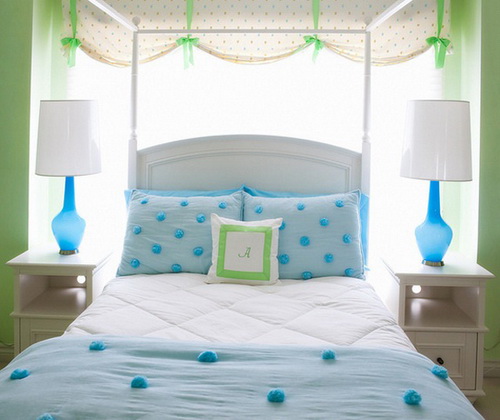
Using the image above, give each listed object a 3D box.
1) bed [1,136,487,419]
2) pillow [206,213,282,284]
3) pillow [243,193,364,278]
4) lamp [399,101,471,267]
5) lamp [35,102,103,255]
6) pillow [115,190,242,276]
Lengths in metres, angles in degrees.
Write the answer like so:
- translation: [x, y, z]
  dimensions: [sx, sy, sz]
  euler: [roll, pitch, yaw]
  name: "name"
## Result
- translation: [0.440, 0.110, 2.726]
  dimensions: [1.813, 1.172, 0.604]
  euler: [-2, 7, -25]
  name: "bed"
- translation: [-0.034, 0.232, 2.469]
  dimensions: [0.337, 0.350, 0.115]
  euler: [-1, -15, 6]
  name: "pillow"
- translation: [0.299, 0.162, 2.578]
  dimensions: [0.441, 0.360, 0.159]
  euler: [-1, -5, 1]
  name: "pillow"
- translation: [1.061, -0.145, 2.602]
  dimensions: [0.377, 0.957, 0.208]
  euler: [3, 10, 13]
  name: "lamp"
- translation: [-1.081, -0.186, 2.706]
  dimensions: [0.347, 0.927, 0.200]
  euler: [1, 10, 3]
  name: "lamp"
- translation: [-0.388, 0.158, 2.713]
  dimensions: [0.678, 0.530, 0.242]
  euler: [5, 3, 24]
  name: "pillow"
